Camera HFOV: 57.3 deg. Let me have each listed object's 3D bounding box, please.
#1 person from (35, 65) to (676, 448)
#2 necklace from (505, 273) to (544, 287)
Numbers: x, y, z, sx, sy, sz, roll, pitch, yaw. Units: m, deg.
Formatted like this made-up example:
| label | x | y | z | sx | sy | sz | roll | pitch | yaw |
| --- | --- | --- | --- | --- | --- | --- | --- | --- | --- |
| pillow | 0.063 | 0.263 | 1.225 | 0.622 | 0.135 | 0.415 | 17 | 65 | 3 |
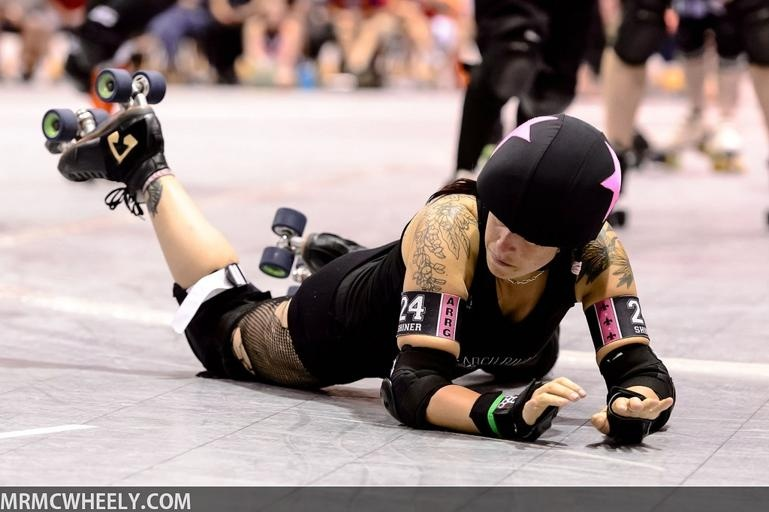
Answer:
| label | x | y | z | sx | sy | sz | roll | pitch | yaw |
| --- | --- | --- | --- | --- | --- | --- | --- | --- | --- |
| person | -0.091 | -0.006 | 2.099 | 1.815 | 0.898 | 0.479 | 6 | 11 | 30 |
| necklace | 0.362 | 0.058 | 1.803 | 0.106 | 0.039 | 0.022 | -1 | 10 | -14 |
